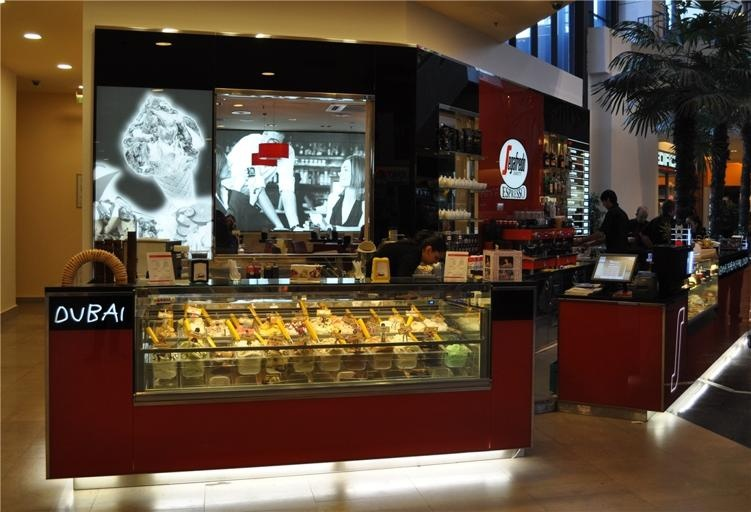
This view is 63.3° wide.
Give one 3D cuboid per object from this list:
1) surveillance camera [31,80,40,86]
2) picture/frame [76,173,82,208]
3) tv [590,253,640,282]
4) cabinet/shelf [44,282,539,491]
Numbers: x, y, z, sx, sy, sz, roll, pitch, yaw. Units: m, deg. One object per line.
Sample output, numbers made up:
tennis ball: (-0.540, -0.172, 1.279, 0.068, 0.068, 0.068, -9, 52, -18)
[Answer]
surveillance camera: (-6.238, -3.172, 11.171, 0.080, 0.030, 0.078, 0, 1, -5)
picture/frame: (-5.874, -1.286, 12.060, 0.154, 0.691, 0.104, 5, 10, 31)
tv: (2.588, 0.126, 6.519, 0.419, 0.364, 0.158, 1, -19, 26)
cabinet/shelf: (-0.564, 0.994, 5.729, 4.339, 1.474, 1.084, 2, -5, -21)
